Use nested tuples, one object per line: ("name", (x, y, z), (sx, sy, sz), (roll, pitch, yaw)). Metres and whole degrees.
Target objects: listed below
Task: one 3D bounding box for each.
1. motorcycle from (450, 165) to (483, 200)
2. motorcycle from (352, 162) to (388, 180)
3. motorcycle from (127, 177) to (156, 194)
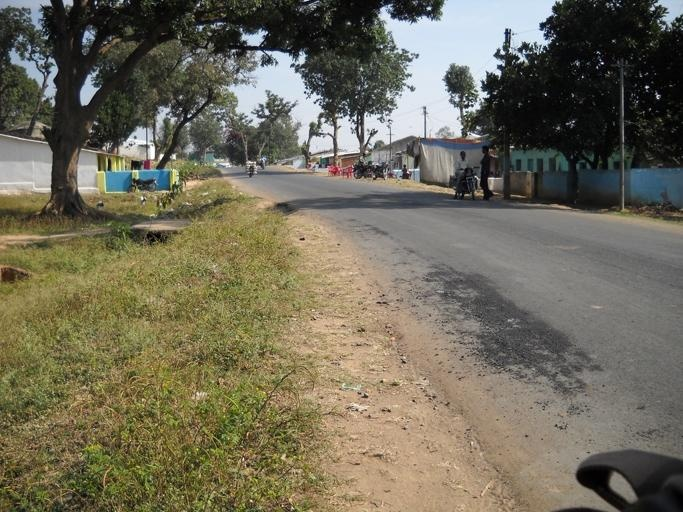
("motorcycle", (4.967, -2.879, 23.748), (1.027, 1.454, 2.208), (0, 5, -9))
("motorcycle", (1.999, -5.910, 41.205), (1.516, 1.021, 2.664), (-14, 20, -40))
("motorcycle", (-12.900, -4.640, 38.485), (1.680, 0.769, 1.412), (-5, 15, -14))
